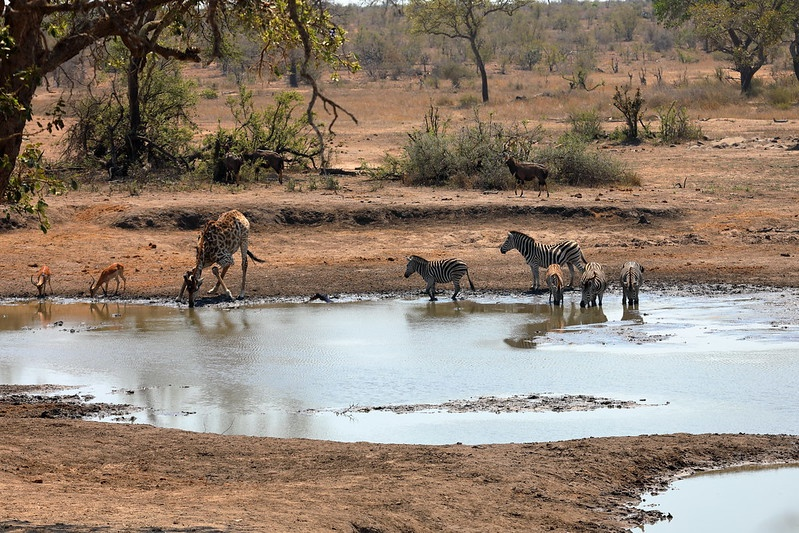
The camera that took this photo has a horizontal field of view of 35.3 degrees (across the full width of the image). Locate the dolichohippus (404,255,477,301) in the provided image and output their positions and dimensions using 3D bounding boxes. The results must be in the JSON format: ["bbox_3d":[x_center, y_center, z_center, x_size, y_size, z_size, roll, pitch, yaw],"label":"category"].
[{"bbox_3d":[1.004,0.325,31.737,1.853,1.077,0.424,-2,-1,15],"label":"dolichohippus"}]

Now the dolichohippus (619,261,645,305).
[{"bbox_3d":[5.612,0.437,30.638,0.484,1.034,0.786,-4,4,9],"label":"dolichohippus"}]

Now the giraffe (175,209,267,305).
[{"bbox_3d":[-4.627,-0.215,32.519,1.226,2.159,4.014,5,17,20],"label":"giraffe"}]

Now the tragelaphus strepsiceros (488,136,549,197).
[{"bbox_3d":[4.148,-3.073,41.097,1.718,1.581,0.631,2,-10,25],"label":"tragelaphus strepsiceros"}]

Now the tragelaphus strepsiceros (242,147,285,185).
[{"bbox_3d":[-4.577,-3.492,43.966,1.137,1.203,1.815,-8,6,-40],"label":"tragelaphus strepsiceros"}]

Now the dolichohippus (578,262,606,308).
[{"bbox_3d":[4.639,0.483,30.582,0.599,1.047,0.822,-4,4,8],"label":"dolichohippus"}]

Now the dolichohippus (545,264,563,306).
[{"bbox_3d":[3.799,0.484,30.989,0.345,0.956,0.784,-4,4,5],"label":"dolichohippus"}]

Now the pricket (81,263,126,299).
[{"bbox_3d":[-7.465,0.424,32.129,0.351,0.887,1.388,10,26,27],"label":"pricket"}]
